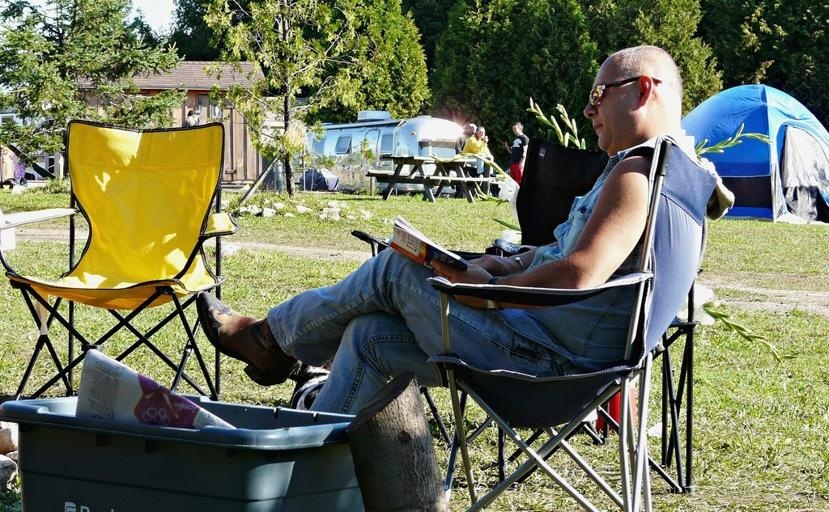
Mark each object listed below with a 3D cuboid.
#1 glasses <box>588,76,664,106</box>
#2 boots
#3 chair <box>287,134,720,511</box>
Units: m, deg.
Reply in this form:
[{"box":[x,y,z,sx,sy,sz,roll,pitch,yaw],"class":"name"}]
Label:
[{"box":[1.270,-1.051,6.220,0.267,0.086,0.229,-12,0,12],"class":"glasses"},{"box":[-1.175,0.606,6.870,0.428,0.613,0.234,-42,0,32],"class":"boots"},{"box":[0.711,0.531,7.194,2.281,2.898,2.207,2,-7,2],"class":"chair"}]
